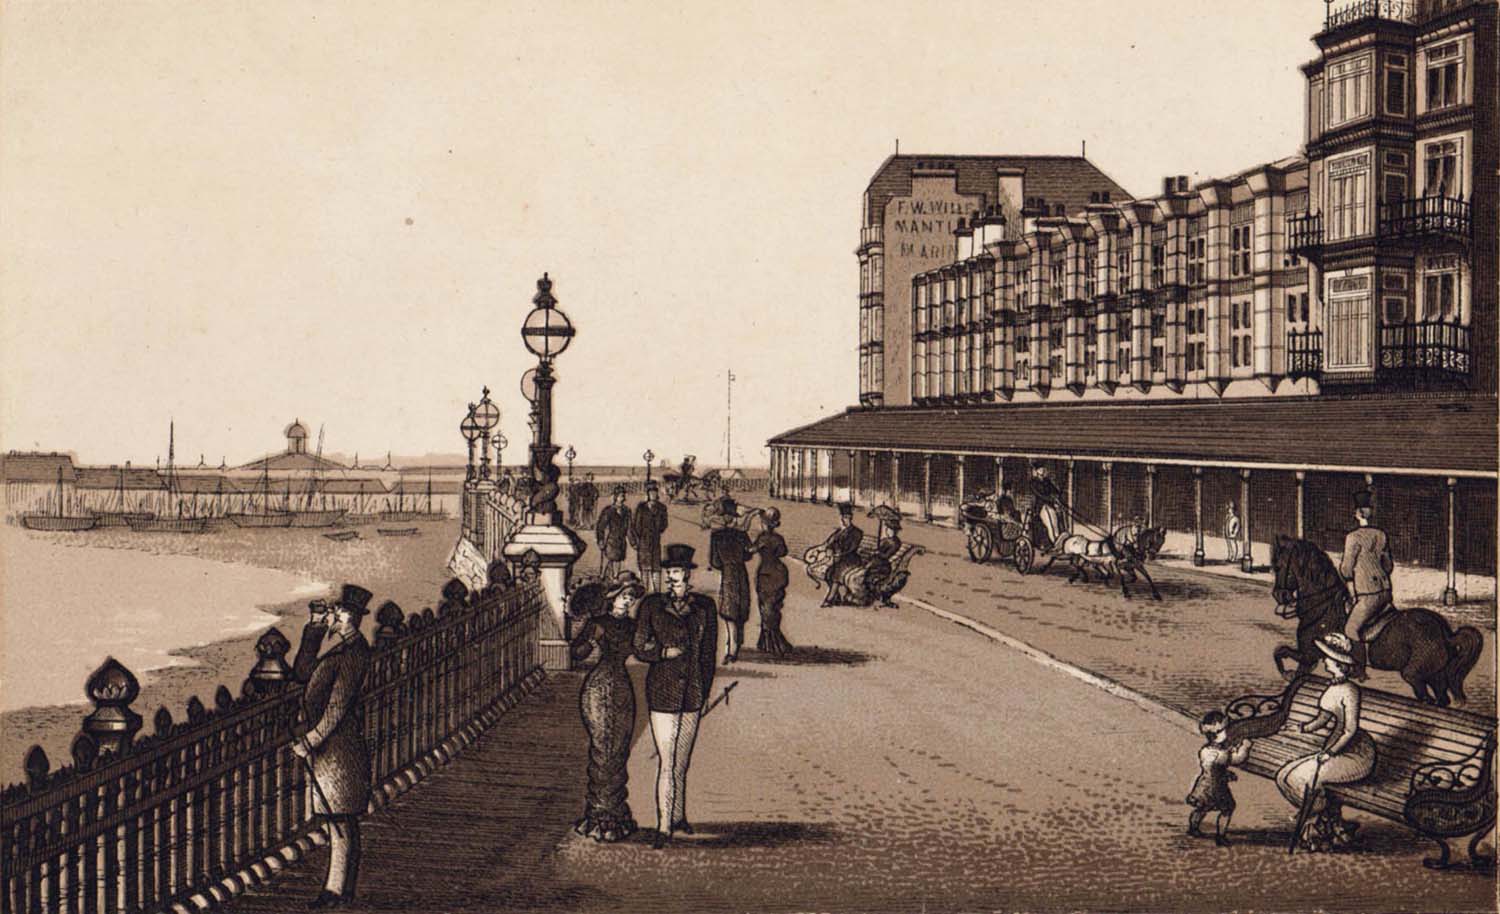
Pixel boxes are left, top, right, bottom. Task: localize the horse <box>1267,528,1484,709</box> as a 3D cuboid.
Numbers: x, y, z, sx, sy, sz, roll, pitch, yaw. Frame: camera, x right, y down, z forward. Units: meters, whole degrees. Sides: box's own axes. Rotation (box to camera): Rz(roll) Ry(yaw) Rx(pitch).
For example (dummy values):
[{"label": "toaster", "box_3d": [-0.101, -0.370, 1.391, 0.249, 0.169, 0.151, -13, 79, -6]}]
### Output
[{"label": "horse", "box_3d": [11.972, 3.285, 40.519, 4.148, 3.158, 1.255, 12, 21, 23]}]
